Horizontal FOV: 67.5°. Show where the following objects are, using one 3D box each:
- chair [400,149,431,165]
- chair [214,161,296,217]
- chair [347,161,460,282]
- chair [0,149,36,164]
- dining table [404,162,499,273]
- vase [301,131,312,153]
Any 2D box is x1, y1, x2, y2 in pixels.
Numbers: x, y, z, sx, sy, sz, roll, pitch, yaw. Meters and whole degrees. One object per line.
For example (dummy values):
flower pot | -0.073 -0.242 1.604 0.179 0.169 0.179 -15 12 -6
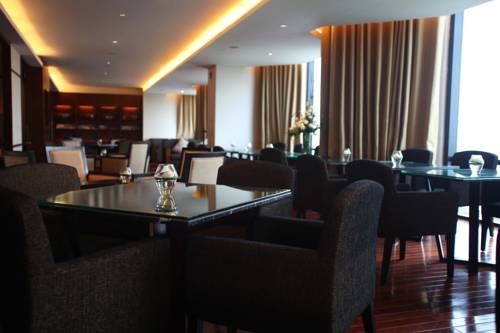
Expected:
chair | 2.136 -0.147 4.797 0.269 0.317 0.252 4 -3 -42
chair | 0.081 0.191 2.770 0.426 0.579 0.472 1 -5 21
chair | 1.355 0.422 3.672 1.040 1.267 0.929 -1 2 -6
chair | -2.820 -0.106 4.612 0.466 0.186 0.271 9 13 37
dining table | 1.948 0.396 3.508 0.912 0.810 1.102 -2 5 -11
vase | 0.881 -0.359 5.776 0.108 0.309 0.237 1 10 1
